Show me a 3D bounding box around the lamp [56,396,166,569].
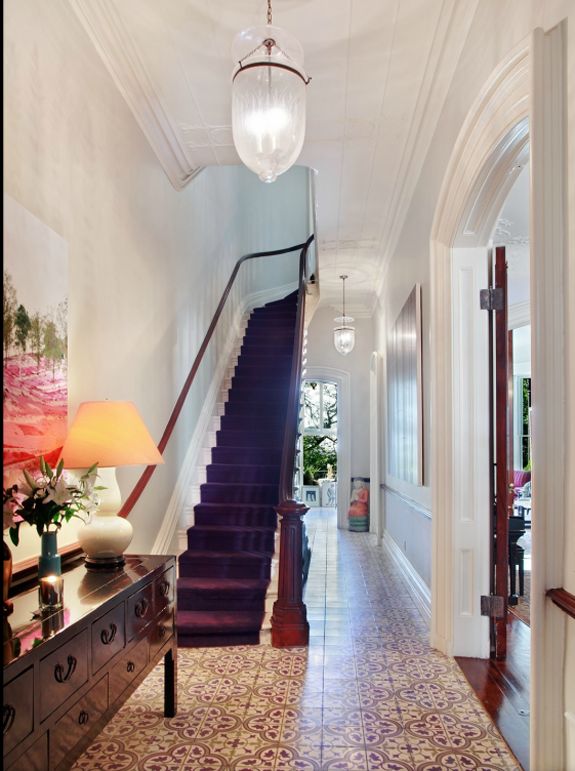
[{"bbox_3d":[-0.912,0.479,2.724,0.378,0.873,0.432,4,-1,-12],"label":"lamp"}]

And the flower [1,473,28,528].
[{"bbox_3d":[-1.044,0.457,2.063,0.082,0.217,0.826,2,-8,-26],"label":"flower"}]

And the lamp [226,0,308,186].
[{"bbox_3d":[-0.080,-1.353,2.591,0.369,0.664,0.256,0,-6,-4],"label":"lamp"}]
